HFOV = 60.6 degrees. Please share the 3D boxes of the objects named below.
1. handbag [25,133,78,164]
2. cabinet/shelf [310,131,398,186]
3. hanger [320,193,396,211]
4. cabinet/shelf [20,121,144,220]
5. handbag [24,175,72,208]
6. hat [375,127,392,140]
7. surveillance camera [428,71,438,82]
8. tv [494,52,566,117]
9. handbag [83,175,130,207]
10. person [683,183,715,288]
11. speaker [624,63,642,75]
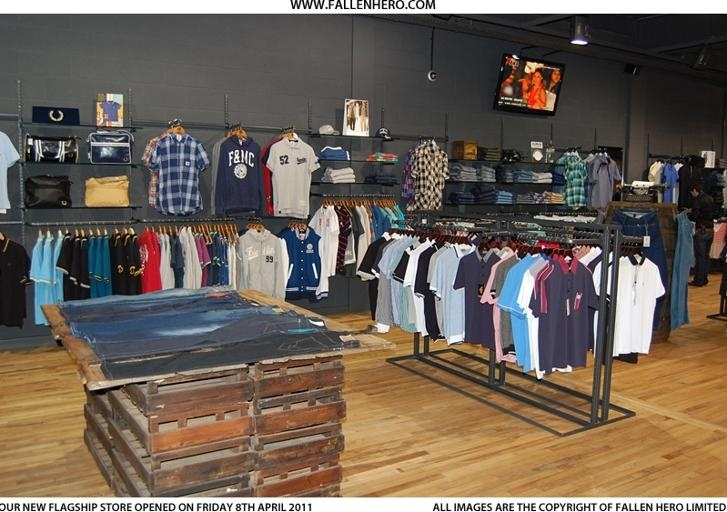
[{"bbox_3d":[-3.573,-1.220,7.090,0.531,0.316,0.215,-5,13,-28],"label":"handbag"},{"bbox_3d":[-0.184,-1.420,8.804,1.317,0.616,0.443,-1,17,-11],"label":"cabinet/shelf"},{"bbox_3d":[-0.072,-0.785,8.847,1.217,0.171,0.449,-7,14,-33],"label":"hanger"},{"bbox_3d":[-3.517,-0.929,7.811,1.824,0.919,1.195,-2,-9,-14],"label":"cabinet/shelf"},{"bbox_3d":[-3.623,-0.739,7.088,0.407,0.317,0.159,-2,4,-34],"label":"handbag"},{"bbox_3d":[0.279,-1.766,8.872,0.163,0.125,0.225,-3,8,-31],"label":"hat"},{"bbox_3d":[1.057,-2.744,9.458,0.143,0.147,0.154,-2,1,27],"label":"surveillance camera"},{"bbox_3d":[2.695,-2.854,10.278,1.337,0.768,0.127,-1,18,-35],"label":"tv"},{"bbox_3d":[-3.047,-0.766,7.327,0.410,0.317,0.145,-2,5,-24],"label":"handbag"},{"bbox_3d":[5.905,-0.350,10.938,0.428,1.866,0.724,8,14,28],"label":"person"},{"bbox_3d":[4.993,-3.485,11.530,0.228,0.202,0.057,1,15,5],"label":"speaker"}]
